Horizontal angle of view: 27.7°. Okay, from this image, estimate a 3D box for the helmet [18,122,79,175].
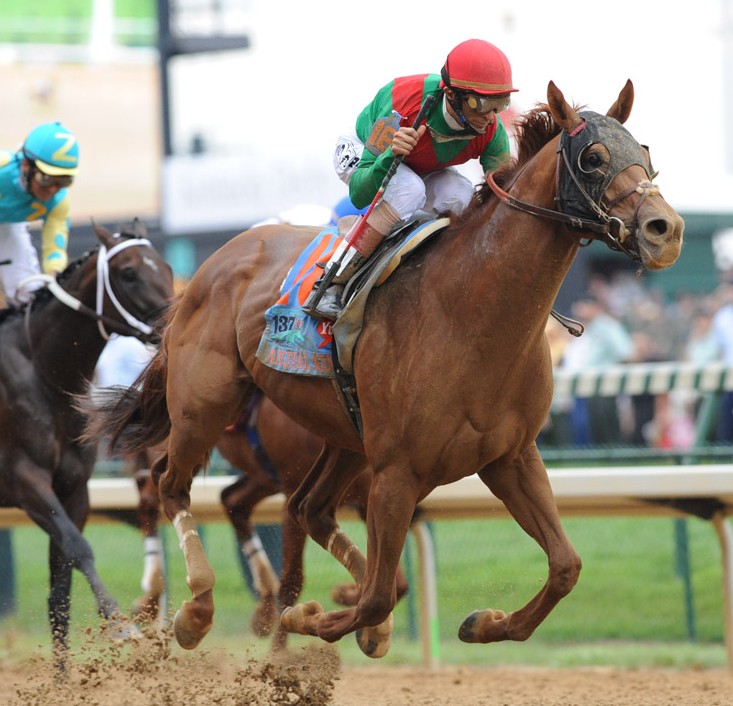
[{"bbox_3d":[-1.446,-0.971,6.787,0.267,0.173,0.204,41,26,28],"label":"helmet"}]

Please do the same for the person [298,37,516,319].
[{"bbox_3d":[0.233,-0.677,5.785,0.625,1.186,0.663,11,21,-21],"label":"person"}]

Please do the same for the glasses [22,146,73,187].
[{"bbox_3d":[-1.475,-0.842,6.795,0.135,0.072,0.167,11,6,-41],"label":"glasses"}]

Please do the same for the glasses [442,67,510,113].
[{"bbox_3d":[0.397,-0.957,5.497,0.153,0.078,0.197,-2,27,-42],"label":"glasses"}]

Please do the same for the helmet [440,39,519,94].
[{"bbox_3d":[0.411,-1.045,5.478,0.254,0.139,0.187,21,26,36],"label":"helmet"}]

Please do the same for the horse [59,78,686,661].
[{"bbox_3d":[-0.117,0.429,6.479,0.697,1.950,2.946,0,-1,-39],"label":"horse"}]
